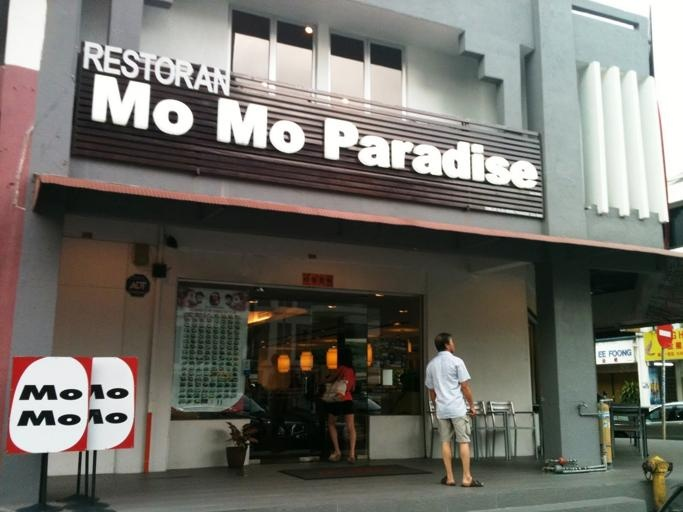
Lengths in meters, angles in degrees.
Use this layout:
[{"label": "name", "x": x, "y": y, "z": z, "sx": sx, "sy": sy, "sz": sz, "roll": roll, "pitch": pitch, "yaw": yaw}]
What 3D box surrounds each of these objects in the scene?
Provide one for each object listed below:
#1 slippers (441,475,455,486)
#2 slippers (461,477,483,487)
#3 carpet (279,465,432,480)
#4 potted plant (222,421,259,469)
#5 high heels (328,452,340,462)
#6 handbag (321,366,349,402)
[{"label": "slippers", "x": 1.552, "y": 3.256, "z": 9.653, "sx": 0.218, "sy": 0.119, "sz": 0.244, "roll": -1, "pitch": -14, "yaw": 5}, {"label": "slippers", "x": 1.892, "y": 3.267, "z": 9.591, "sx": 0.237, "sy": 0.086, "sz": 0.124, "roll": 0, "pitch": -7, "yaw": -6}, {"label": "carpet", "x": 0.190, "y": 3.460, "z": 10.722, "sx": 2.260, "sy": 0.159, "sz": 1.281, "roll": 7, "pitch": -15, "yaw": -23}, {"label": "potted plant", "x": -1.685, "y": 3.156, "z": 11.145, "sx": 0.479, "sy": 0.766, "sz": 0.593, "roll": 5, "pitch": -15, "yaw": -15}, {"label": "high heels", "x": -0.115, "y": 3.530, "z": 11.721, "sx": 0.203, "sy": 0.146, "sz": 0.119, "roll": -4, "pitch": -8, "yaw": 22}, {"label": "handbag", "x": -0.100, "y": 2.270, "z": 11.691, "sx": 0.507, "sy": 0.643, "sz": 0.275, "roll": -18, "pitch": -46, "yaw": 37}]
